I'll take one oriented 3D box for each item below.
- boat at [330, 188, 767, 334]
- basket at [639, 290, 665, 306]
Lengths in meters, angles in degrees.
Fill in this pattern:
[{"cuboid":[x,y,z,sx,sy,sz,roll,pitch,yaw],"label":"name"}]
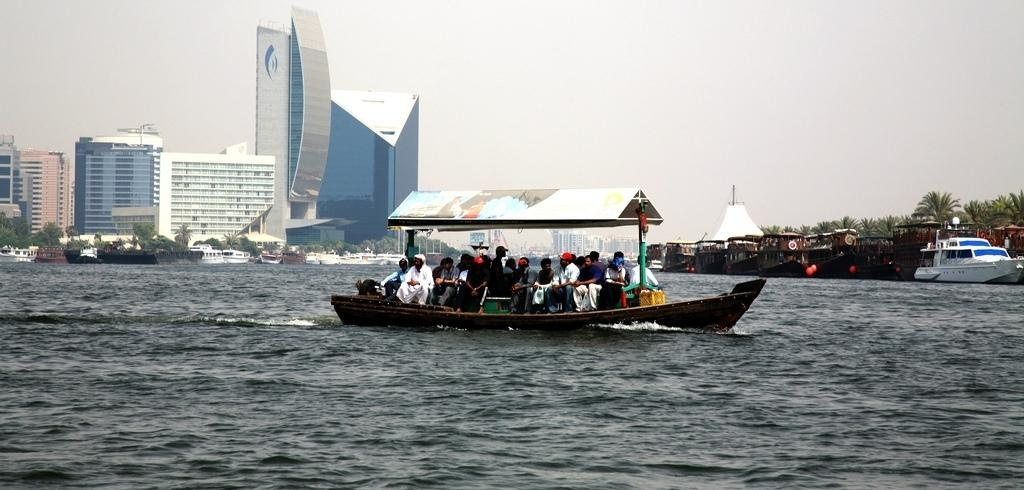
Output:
[{"cuboid":[2.099,2.762,161.526,58.432,16.879,13.121,0,2,23],"label":"boat"},{"cuboid":[16.806,6.469,157.239,2.547,1.206,2.232,1,-4,-5],"label":"basket"}]
